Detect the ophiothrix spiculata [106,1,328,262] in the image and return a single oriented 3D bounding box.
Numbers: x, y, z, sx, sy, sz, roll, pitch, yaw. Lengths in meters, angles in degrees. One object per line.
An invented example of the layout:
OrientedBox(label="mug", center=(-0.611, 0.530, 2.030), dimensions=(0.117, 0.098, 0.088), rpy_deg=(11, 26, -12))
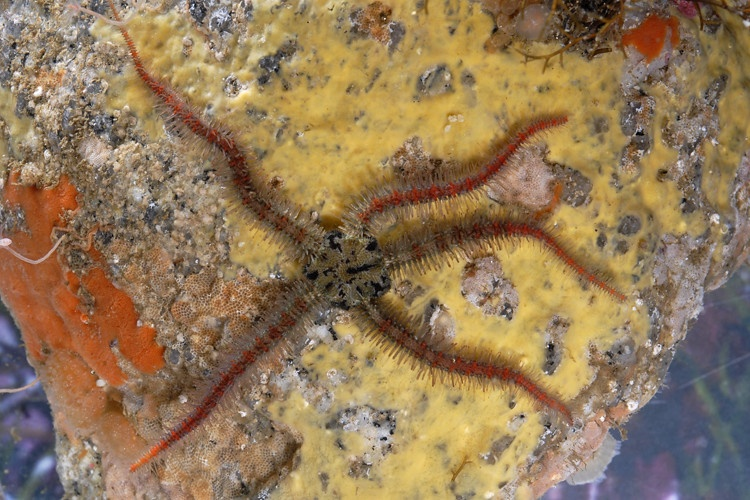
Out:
OrientedBox(label="ophiothrix spiculata", center=(-1.475, -1.247, 8.564), dimensions=(2.586, 0.362, 0.413), rpy_deg=(56, 15, -7))

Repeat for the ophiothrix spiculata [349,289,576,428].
OrientedBox(label="ophiothrix spiculata", center=(0.800, 1.021, 8.812), dimensions=(1.825, 0.291, 0.398), rpy_deg=(30, -29, 0))
